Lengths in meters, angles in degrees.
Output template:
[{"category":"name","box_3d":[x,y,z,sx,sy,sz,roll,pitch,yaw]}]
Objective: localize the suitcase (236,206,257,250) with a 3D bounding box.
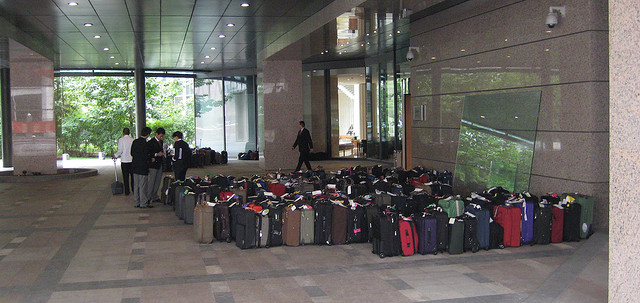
[{"category":"suitcase","box_3d":[-2.209,2.308,11.938,0.600,1.134,0.270,-2,5,-5]}]

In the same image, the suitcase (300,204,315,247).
[{"category":"suitcase","box_3d":[-0.390,2.257,12.070,0.467,1.120,0.209,-2,5,-1]}]

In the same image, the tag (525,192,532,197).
[{"category":"tag","box_3d":[6.514,1.349,12.515,0.142,0.089,0.119,-3,4,-24]}]

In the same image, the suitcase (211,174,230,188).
[{"category":"suitcase","box_3d":[-4.114,1.198,16.338,0.653,0.427,1.630,-2,4,-15]}]

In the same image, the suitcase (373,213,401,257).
[{"category":"suitcase","box_3d":[1.898,2.380,11.419,0.783,1.203,0.261,-1,5,5]}]

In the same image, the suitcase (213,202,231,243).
[{"category":"suitcase","box_3d":[-3.055,2.208,12.389,0.542,1.161,0.309,-2,5,0]}]

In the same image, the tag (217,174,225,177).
[{"category":"tag","box_3d":[-4.443,1.062,17.839,0.355,0.063,0.290,6,-5,11]}]

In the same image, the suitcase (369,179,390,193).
[{"category":"suitcase","box_3d":[2.236,1.298,15.052,0.979,0.489,0.454,0,-4,1]}]

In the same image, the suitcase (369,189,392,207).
[{"category":"suitcase","box_3d":[2.105,1.579,13.684,0.680,0.343,0.532,0,1,-11]}]

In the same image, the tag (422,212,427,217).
[{"category":"tag","box_3d":[3.021,1.837,11.628,0.111,0.024,0.330,-1,3,9]}]

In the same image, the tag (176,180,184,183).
[{"category":"tag","box_3d":[-5.525,1.184,15.796,0.145,0.087,0.444,14,-9,-33]}]

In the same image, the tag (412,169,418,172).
[{"category":"tag","box_3d":[3.985,0.816,16.810,0.072,0.059,0.261,-5,16,-27]}]

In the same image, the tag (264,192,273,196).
[{"category":"tag","box_3d":[-1.762,1.412,13.408,0.294,0.048,0.249,1,1,-6]}]

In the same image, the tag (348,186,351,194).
[{"category":"tag","box_3d":[1.061,1.387,14.521,0.103,0.246,0.081,-2,5,-2]}]

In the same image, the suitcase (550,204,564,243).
[{"category":"suitcase","box_3d":[7.139,2.191,12.133,0.475,1.113,0.197,-3,5,-20]}]

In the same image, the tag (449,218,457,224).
[{"category":"tag","box_3d":[3.850,2.007,11.597,0.188,0.142,0.045,5,-6,29]}]

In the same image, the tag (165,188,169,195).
[{"category":"tag","box_3d":[-6.137,1.614,16.026,0.054,0.158,0.199,6,-1,-43]}]

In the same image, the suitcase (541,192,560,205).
[{"category":"suitcase","box_3d":[7.264,1.476,12.618,0.435,0.314,0.390,2,5,17]}]

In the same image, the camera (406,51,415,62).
[{"category":"camera","box_3d":[4.005,-4.155,17.822,0.287,0.271,0.584,-1,-21,-6]}]

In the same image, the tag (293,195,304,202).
[{"category":"tag","box_3d":[-0.720,1.518,12.915,0.139,0.036,0.370,27,30,24]}]

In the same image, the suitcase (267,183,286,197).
[{"category":"suitcase","box_3d":[-1.633,1.428,15.343,0.581,0.778,0.609,-3,6,-25]}]

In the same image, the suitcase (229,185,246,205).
[{"category":"suitcase","box_3d":[-2.985,1.588,14.486,0.489,0.592,0.783,-3,6,-23]}]

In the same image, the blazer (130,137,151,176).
[{"category":"blazer","box_3d":[-6.955,0.214,15.433,0.727,1.453,0.296,-2,5,-6]}]

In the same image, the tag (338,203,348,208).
[{"category":"tag","box_3d":[0.686,1.649,12.291,0.055,0.090,0.270,-39,30,-31]}]

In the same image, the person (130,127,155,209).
[{"category":"person","box_3d":[-6.965,0.629,15.645,0.835,3.126,0.778,-4,5,-22]}]

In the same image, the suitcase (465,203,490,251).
[{"category":"suitcase","box_3d":[4.661,2.232,11.822,0.657,1.275,0.458,-1,5,11]}]

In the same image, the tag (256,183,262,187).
[{"category":"tag","box_3d":[-2.348,1.282,15.281,0.152,0.031,0.116,5,45,-25]}]

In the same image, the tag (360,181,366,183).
[{"category":"tag","box_3d":[1.645,1.180,15.441,0.215,0.043,0.244,0,3,9]}]

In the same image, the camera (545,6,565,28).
[{"category":"camera","box_3d":[7.568,-4.359,12.849,0.621,0.622,0.325,10,-5,31]}]

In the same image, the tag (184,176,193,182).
[{"category":"tag","box_3d":[-5.664,1.174,17.147,0.095,0.295,0.372,8,8,34]}]

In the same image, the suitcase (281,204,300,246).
[{"category":"suitcase","box_3d":[-0.875,2.221,12.070,0.515,1.178,0.280,0,5,21]}]

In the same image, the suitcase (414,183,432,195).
[{"category":"suitcase","box_3d":[3.853,1.393,14.803,0.853,0.350,0.461,9,0,23]}]

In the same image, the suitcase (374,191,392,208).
[{"category":"suitcase","box_3d":[2.108,1.624,13.592,0.573,0.402,0.441,1,-7,-9]}]

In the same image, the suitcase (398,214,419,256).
[{"category":"suitcase","box_3d":[2.526,2.404,11.506,0.554,1.109,0.293,-3,5,-18]}]

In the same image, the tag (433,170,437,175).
[{"category":"tag","box_3d":[4.718,0.864,16.406,0.159,0.113,0.036,3,-12,35]}]

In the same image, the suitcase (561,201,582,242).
[{"category":"suitcase","box_3d":[7.689,2.135,12.199,0.604,1.176,0.253,-1,5,5]}]

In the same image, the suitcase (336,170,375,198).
[{"category":"suitcase","box_3d":[1.460,1.131,15.656,1.673,1.181,0.471,2,17,-6]}]

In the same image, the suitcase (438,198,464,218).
[{"category":"suitcase","box_3d":[4.143,1.644,12.580,0.983,0.702,0.563,2,-2,-40]}]

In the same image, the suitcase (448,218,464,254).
[{"category":"suitcase","box_3d":[3.930,2.425,11.568,0.484,0.978,0.211,-2,5,0]}]

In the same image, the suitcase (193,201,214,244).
[{"category":"suitcase","box_3d":[-3.581,2.231,12.297,0.737,1.280,1.431,1,-1,-20]}]

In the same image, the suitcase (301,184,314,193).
[{"category":"suitcase","box_3d":[-0.483,1.361,15.280,0.532,0.351,0.246,0,6,-7]}]

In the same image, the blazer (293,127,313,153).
[{"category":"blazer","box_3d":[-0.905,-0.583,21.408,0.956,1.258,0.513,0,5,13]}]

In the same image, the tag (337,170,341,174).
[{"category":"tag","box_3d":[0.861,0.942,17.689,0.139,0.186,0.226,-1,7,-18]}]

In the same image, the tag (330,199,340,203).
[{"category":"tag","box_3d":[0.457,1.556,12.476,0.297,0.062,0.403,-1,3,-1]}]

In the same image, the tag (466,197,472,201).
[{"category":"tag","box_3d":[4.708,1.482,12.636,0.168,0.025,0.241,0,3,9]}]

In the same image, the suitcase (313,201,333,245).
[{"category":"suitcase","box_3d":[0.109,2.184,12.128,0.564,1.227,0.265,-2,5,0]}]

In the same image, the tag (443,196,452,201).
[{"category":"tag","box_3d":[4.041,1.490,12.645,0.245,0.050,0.064,-24,40,-34]}]
